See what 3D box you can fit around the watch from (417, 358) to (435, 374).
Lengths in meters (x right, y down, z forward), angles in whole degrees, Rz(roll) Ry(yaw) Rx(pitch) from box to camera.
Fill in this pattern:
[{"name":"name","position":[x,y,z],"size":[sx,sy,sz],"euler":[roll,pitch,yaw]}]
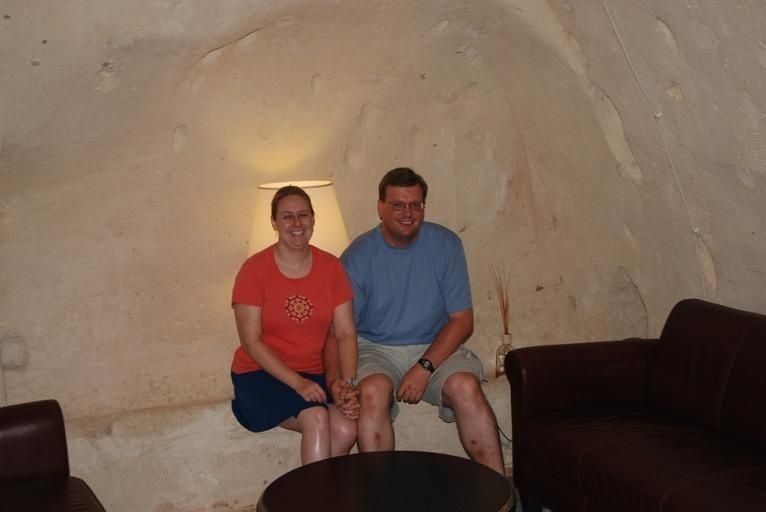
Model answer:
[{"name":"watch","position":[0.221,0.543,3.500],"size":[0.088,0.060,0.085],"euler":[32,-20,12]}]

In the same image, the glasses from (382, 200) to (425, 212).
[{"name":"glasses","position":[0.108,-0.257,3.543],"size":[0.193,0.047,0.069],"euler":[-3,-1,-10]}]

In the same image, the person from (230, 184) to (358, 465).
[{"name":"person","position":[-0.441,0.306,3.368],"size":[0.631,1.339,0.447],"euler":[-3,0,-11]}]

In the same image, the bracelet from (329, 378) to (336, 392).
[{"name":"bracelet","position":[-0.242,0.625,3.356],"size":[0.034,0.069,0.078],"euler":[-3,-1,-16]}]

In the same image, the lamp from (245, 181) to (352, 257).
[{"name":"lamp","position":[-0.460,-0.194,3.702],"size":[0.433,0.355,0.445],"euler":[0,5,10]}]
